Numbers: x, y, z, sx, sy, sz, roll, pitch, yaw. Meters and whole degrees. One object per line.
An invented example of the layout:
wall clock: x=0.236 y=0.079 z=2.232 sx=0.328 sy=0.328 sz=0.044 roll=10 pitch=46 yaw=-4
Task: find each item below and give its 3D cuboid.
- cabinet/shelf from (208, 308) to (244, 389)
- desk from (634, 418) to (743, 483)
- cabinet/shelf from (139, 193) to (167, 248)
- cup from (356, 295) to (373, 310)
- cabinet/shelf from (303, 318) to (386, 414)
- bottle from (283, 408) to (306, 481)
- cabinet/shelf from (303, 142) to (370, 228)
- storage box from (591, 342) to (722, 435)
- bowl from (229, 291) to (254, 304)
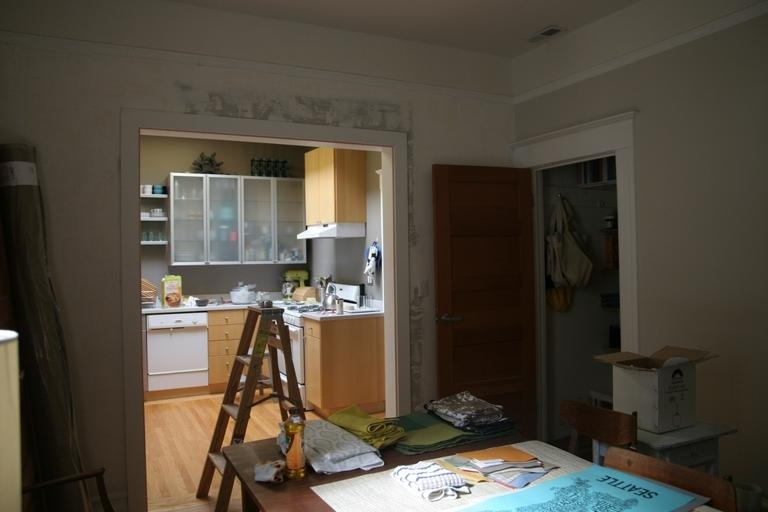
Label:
cabinet/shelf: x=-1.970 y=1.124 z=7.045 sx=0.414 sy=0.887 sz=0.515 roll=-1 pitch=-1 yaw=-10
desk: x=1.780 y=1.127 z=3.257 sx=0.387 sy=0.481 sz=0.401 roll=-3 pitch=5 yaw=-36
cabinet/shelf: x=-2.882 y=-0.445 z=6.973 sx=0.312 sy=0.464 sz=0.271 roll=-2 pitch=1 yaw=-19
cup: x=-0.233 y=0.541 z=6.348 sx=0.229 sy=0.213 sz=0.126 roll=-2 pitch=-3 yaw=34
cabinet/shelf: x=-0.358 y=1.116 z=5.827 sx=1.031 sy=1.290 sz=0.877 roll=2 pitch=-5 yaw=-16
bottle: x=-0.460 y=0.941 z=2.832 sx=0.101 sy=0.358 sz=0.167 roll=-2 pitch=1 yaw=-9
cabinet/shelf: x=-0.647 y=-0.855 z=6.696 sx=0.357 sy=0.948 sz=0.902 roll=-2 pitch=1 yaw=-45
storage box: x=1.702 y=0.855 z=3.442 sx=0.604 sy=0.410 sz=0.542 roll=-1 pitch=-4 yaw=-1
bowl: x=-1.868 y=0.549 z=7.272 sx=0.197 sy=0.095 sz=0.198 roll=1 pitch=-3 yaw=0
